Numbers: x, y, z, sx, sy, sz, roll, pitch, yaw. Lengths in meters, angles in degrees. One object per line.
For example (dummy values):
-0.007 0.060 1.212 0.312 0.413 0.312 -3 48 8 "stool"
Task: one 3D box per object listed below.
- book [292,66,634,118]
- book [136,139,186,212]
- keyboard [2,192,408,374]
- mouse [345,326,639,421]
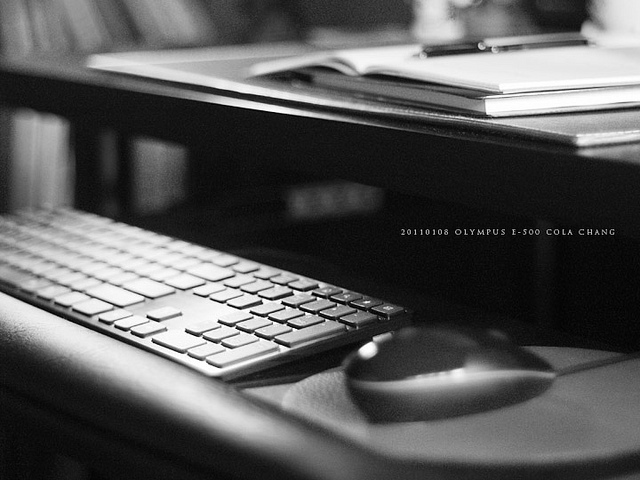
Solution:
0.082 -0.119 0.459 0.277 0.021 0.105 18 28 40 "book"
-0.216 -0.089 0.838 0.104 0.094 0.022 0 1 25 "book"
-0.178 0.025 0.534 0.483 0.022 0.164 15 26 35 "keyboard"
0.068 0.069 0.309 0.105 0.019 0.061 -6 11 -9 "mouse"
